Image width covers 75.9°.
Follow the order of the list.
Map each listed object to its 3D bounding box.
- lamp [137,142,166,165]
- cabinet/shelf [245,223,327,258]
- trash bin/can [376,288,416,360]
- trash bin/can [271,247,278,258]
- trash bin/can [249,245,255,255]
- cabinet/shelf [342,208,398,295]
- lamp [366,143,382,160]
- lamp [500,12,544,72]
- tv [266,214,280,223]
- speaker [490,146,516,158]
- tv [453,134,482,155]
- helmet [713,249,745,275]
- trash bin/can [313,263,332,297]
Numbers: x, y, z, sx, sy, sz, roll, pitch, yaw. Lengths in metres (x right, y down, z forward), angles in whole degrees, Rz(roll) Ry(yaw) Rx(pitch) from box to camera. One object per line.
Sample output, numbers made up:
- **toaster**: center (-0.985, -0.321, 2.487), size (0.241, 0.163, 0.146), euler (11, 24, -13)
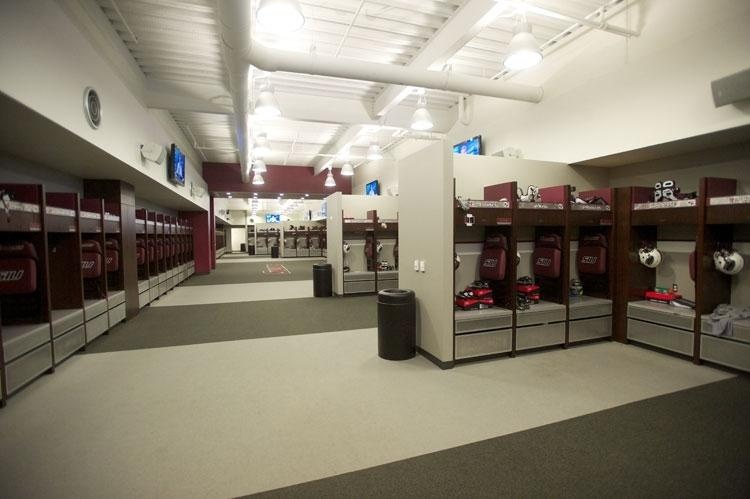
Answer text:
- **lamp**: center (-4.554, -1.959, 9.840), size (0.306, 0.370, 0.915), euler (-1, 3, -13)
- **cabinet/shelf**: center (-5.267, -0.612, 28.459), size (2.167, 1.993, 7.625), euler (-3, 3, -34)
- **trash bin/can**: center (0.332, 1.292, 7.977), size (0.737, 1.175, 0.775), euler (2, 5, 25)
- **trash bin/can**: center (-5.734, 0.115, 27.470), size (0.507, 0.561, 0.511), euler (-1, 2, -13)
- **trash bin/can**: center (-7.987, 0.020, 31.003), size (0.509, 0.562, 0.513), euler (2, -4, -14)
- **cabinet/shelf**: center (-0.205, 0.040, 12.765), size (2.192, 2.550, 0.954), euler (0, -3, -5)
- **lamp**: center (-0.038, -2.390, 11.843), size (0.355, 0.384, 0.359), euler (-2, 6, -12)
- **lamp**: center (2.212, -3.186, 7.227), size (0.494, 0.813, 0.441), euler (-1, 3, -7)
- **tv**: center (-7.722, -2.338, 36.311), size (0.980, 0.627, 0.133), euler (-1, -9, 5)
- **speaker**: center (2.579, -1.915, 9.723), size (0.561, 0.247, 0.420), euler (6, 10, 44)
- **tv**: center (2.320, -2.518, 11.847), size (0.357, 0.469, 0.921), euler (-1, 3, -10)
- **helmet**: center (5.436, 0.171, 7.414), size (0.358, 0.357, 0.222), euler (1, 3, 37)
- **trash bin/can**: center (-1.354, 0.789, 12.509), size (0.510, 0.829, 0.500), euler (-1, 3, -8)
